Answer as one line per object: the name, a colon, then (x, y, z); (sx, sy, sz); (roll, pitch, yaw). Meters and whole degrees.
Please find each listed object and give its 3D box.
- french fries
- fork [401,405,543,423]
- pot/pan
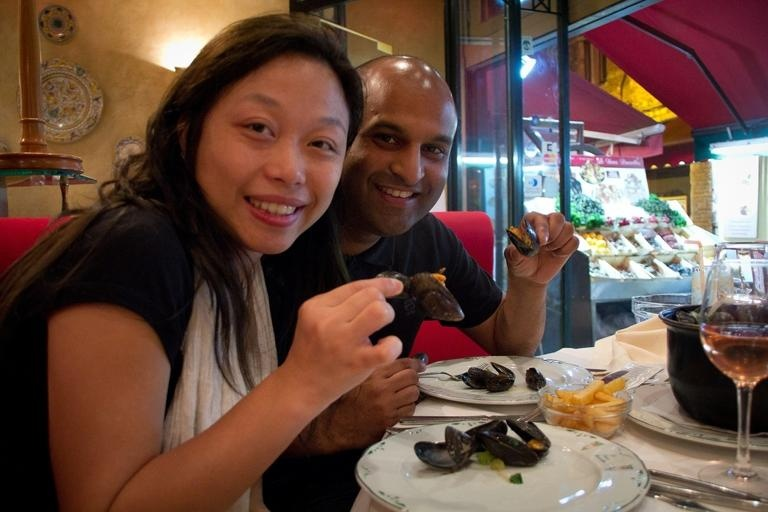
french fries: (0.595, 0.413, 1.670); (0.179, 0.101, 0.171); (-2, 0, 30)
fork: (0.275, 0.484, 1.738); (0.397, 0.049, 0.046); (-1, 14, -3)
pot/pan: (0.904, 0.309, 1.620); (0.282, 0.217, 0.288); (0, 2, 25)
